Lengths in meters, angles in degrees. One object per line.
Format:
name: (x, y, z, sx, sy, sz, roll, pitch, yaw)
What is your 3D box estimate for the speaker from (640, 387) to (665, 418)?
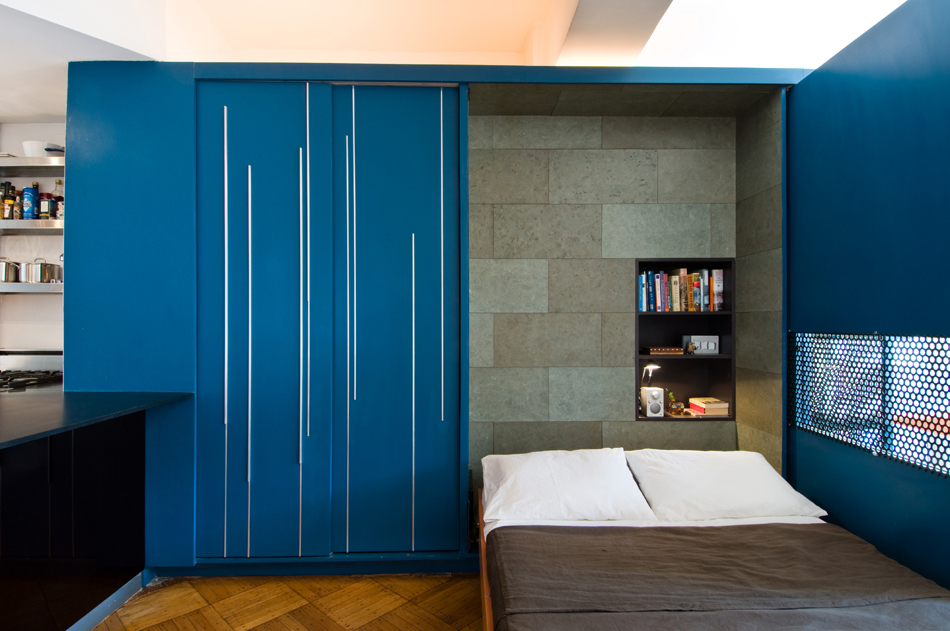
speaker: (1.305, 0.635, 5.386, 0.189, 0.214, 0.143, -3, 2, -2)

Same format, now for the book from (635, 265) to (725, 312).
book: (1.505, -0.171, 5.354, 0.662, 0.318, 0.093, -3, 2, -5)
